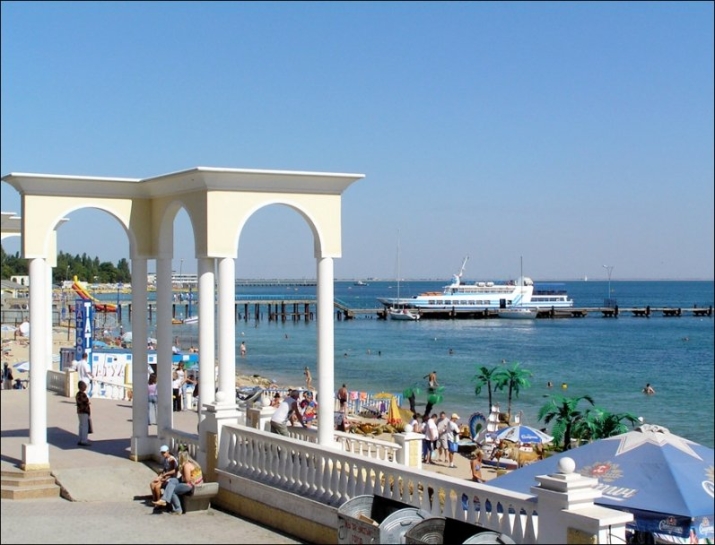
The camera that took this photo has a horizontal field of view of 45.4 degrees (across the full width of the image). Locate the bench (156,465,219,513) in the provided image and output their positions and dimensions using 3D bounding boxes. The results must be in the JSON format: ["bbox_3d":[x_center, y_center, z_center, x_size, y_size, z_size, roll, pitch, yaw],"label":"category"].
[{"bbox_3d":[-2.975,3.617,14.777,0.946,1.079,0.600,9,-3,-15],"label":"bench"}]

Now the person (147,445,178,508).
[{"bbox_3d":[-3.467,3.601,15.148,0.546,0.952,0.402,-8,8,-35],"label":"person"}]

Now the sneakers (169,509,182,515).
[{"bbox_3d":[-3.098,4.076,14.494,0.194,0.086,0.066,18,-2,3],"label":"sneakers"}]

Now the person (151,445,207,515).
[{"bbox_3d":[-3.126,3.600,14.748,0.782,1.106,0.428,13,-23,-24],"label":"person"}]

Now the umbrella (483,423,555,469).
[{"bbox_3d":[4.876,5.324,26.523,2.059,1.323,2.095,2,-1,14],"label":"umbrella"}]
